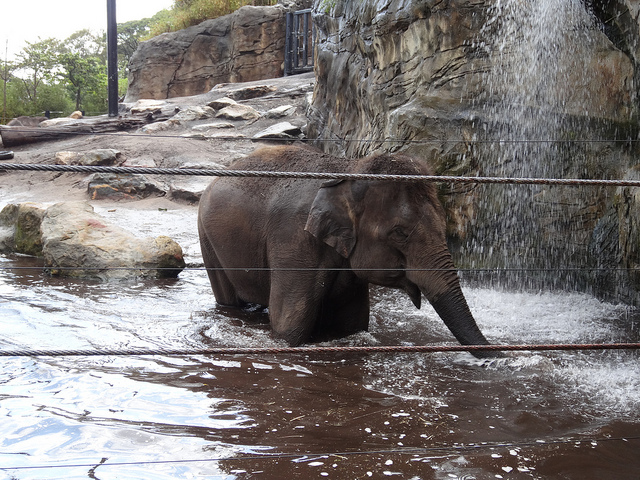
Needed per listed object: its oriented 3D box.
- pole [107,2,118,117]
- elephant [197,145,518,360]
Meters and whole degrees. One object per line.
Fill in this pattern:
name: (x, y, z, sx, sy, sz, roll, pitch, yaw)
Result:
pole: (-5.115, -4.486, 20.940, 0.205, 2.780, 0.632, -1, 17, -16)
elephant: (0.102, 0.059, 7.134, 0.888, 1.628, 2.747, -12, 19, -43)
